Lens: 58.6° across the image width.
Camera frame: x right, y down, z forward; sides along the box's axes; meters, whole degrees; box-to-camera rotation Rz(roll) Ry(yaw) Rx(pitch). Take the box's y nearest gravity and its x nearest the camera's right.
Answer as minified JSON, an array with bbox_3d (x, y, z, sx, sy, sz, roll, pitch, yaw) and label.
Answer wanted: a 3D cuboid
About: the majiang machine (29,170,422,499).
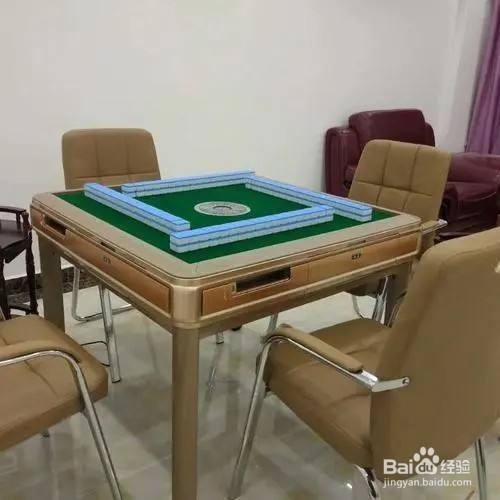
[{"bbox_3d":[-0.164,0.194,1.681,1.068,0.712,1.046,-15,27,-36],"label":"majiang machine"}]

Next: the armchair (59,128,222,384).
[{"bbox_3d":[-0.544,-0.058,2.191,0.631,1.001,0.746,-13,25,-40],"label":"armchair"}]

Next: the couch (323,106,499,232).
[{"bbox_3d":[1.495,-0.744,3.848,1.362,1.065,1.313,-17,29,-32],"label":"couch"}]
